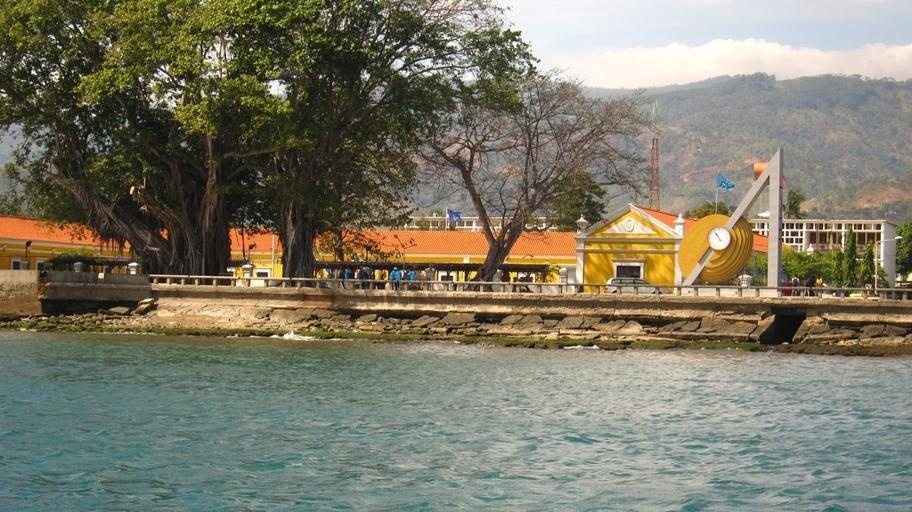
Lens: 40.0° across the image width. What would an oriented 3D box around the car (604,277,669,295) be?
[{"bbox_3d":[13.427,2.507,93.373,4.032,1.029,1.883,0,3,4],"label":"car"}]
